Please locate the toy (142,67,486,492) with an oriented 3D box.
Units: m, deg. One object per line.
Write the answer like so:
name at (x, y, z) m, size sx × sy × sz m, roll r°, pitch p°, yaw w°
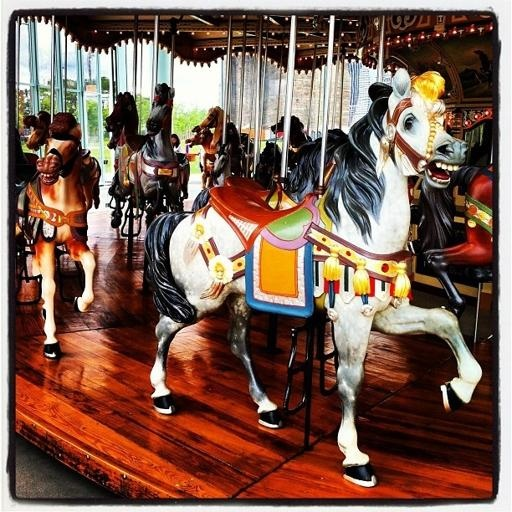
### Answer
toy at (0.214, 0.051, 2.165) m, size 1.421 × 1.555 × 0.383 m, roll 7°, pitch 9°, yaw 31°
